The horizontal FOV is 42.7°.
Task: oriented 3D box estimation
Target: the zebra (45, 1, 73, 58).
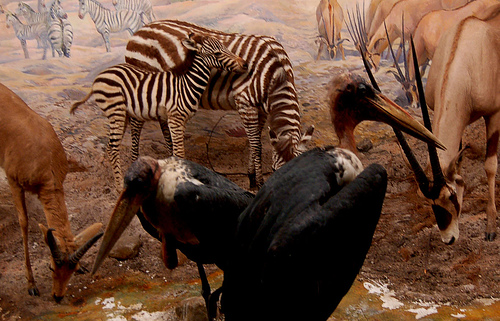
[{"bbox_3d":[-3.059,-2.098,10.241,0.274,0.996,0.641,-5,-16,-27],"label":"zebra"}]
